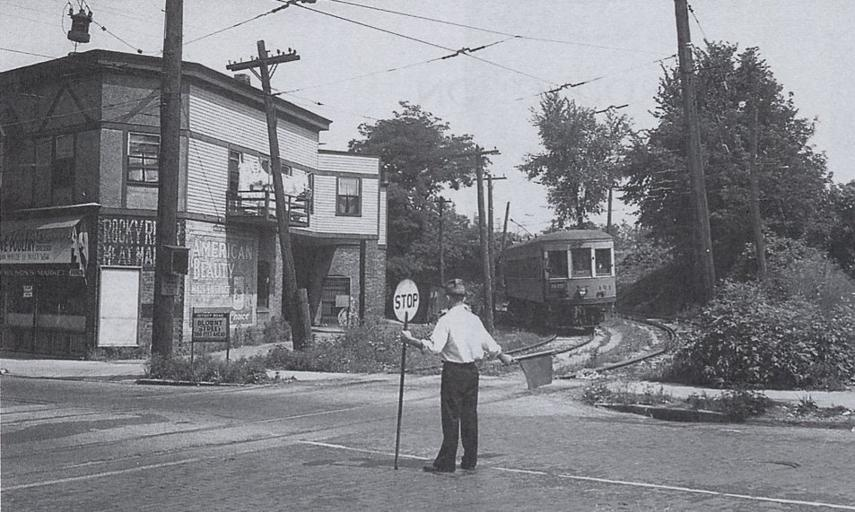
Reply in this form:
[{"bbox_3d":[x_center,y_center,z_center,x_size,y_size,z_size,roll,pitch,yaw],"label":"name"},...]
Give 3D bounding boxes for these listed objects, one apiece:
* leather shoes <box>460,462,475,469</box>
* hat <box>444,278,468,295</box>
[{"bbox_3d":[0.965,5.016,22.721,0.179,0.087,0.225,4,-4,-44],"label":"leather shoes"},{"bbox_3d":[0.708,0.806,23.106,0.336,0.438,0.465,5,-52,-25],"label":"hat"}]
